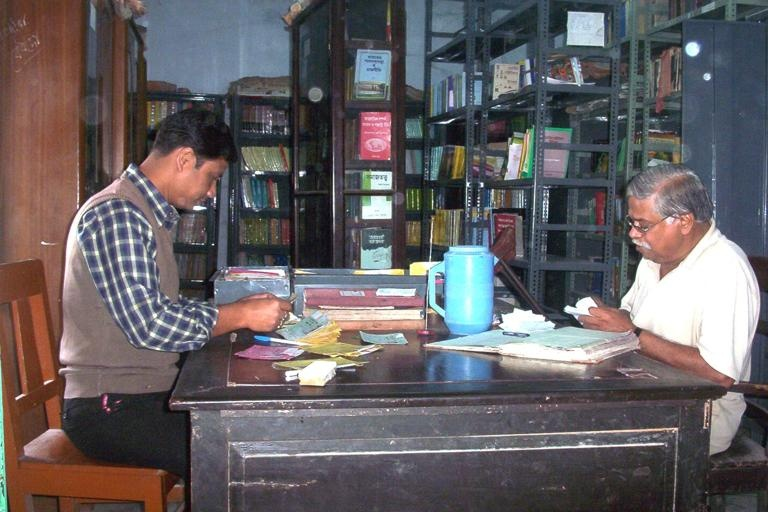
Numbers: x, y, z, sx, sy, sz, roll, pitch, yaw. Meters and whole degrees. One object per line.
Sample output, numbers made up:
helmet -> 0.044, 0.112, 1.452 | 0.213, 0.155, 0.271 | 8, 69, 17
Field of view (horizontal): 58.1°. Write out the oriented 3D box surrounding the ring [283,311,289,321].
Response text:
ring -> -0.364, 0.231, 2.645 | 0.032, 0.028, 0.031 | -4, 0, 0

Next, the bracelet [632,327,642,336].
bracelet -> 0.948, 0.283, 2.587 | 0.030, 0.019, 0.028 | -5, -12, -6

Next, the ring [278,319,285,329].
ring -> -0.384, 0.256, 2.584 | 0.011, 0.030, 0.023 | 24, -3, 25
